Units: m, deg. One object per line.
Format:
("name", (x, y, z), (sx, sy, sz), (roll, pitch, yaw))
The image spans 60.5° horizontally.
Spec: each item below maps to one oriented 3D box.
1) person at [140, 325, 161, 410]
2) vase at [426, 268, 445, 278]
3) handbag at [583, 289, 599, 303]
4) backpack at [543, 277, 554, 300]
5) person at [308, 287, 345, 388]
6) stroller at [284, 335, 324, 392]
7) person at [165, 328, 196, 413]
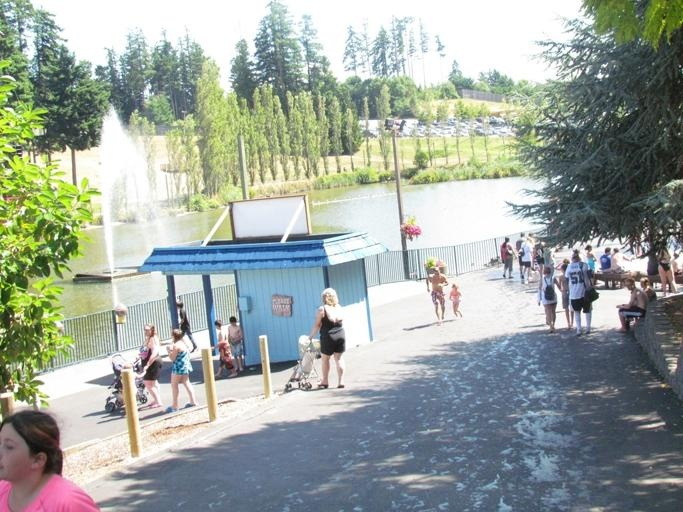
("person", (-4.472, 2.592, 13.769), (0.475, 1.609, 0.897), (-6, 3, -20))
("vase", (2.983, 0.491, 18.337), (0.507, 0.453, 0.613), (-1, -4, 4))
("handbag", (5.968, 0.925, 13.908), (0.472, 0.330, 0.210), (-9, 5, -39))
("backpack", (5.012, 0.878, 14.157), (0.254, 0.475, 0.454), (-1, 3, 4))
("person", (-0.290, 1.658, 11.576), (0.684, 2.039, 0.787), (-6, 3, -19))
("stroller", (-0.914, 2.203, 12.289), (0.654, 0.924, 0.578), (-5, 2, 17))
("person", (-3.730, 2.540, 13.417), (0.580, 1.458, 1.492), (-6, 3, -16))
